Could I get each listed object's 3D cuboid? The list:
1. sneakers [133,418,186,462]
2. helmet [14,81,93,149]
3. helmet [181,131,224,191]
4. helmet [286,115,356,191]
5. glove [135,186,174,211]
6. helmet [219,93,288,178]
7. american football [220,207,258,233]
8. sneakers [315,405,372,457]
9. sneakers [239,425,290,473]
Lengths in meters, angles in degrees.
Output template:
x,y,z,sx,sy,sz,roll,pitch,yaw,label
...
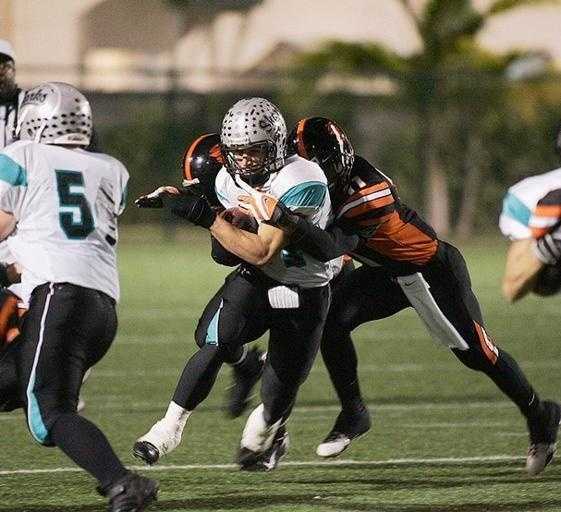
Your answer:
x,y,z,sx,sy,sz,roll,pitch,yaw,label
-0.459,0.700,3.054,0.112,0.099,0.266,3,16,34,sneakers
-0.828,-0.554,3.096,0.347,0.247,0.391,2,16,-24,helmet
-0.398,-0.482,4.019,0.198,0.292,0.338,-1,4,-6,helmet
0.183,-0.442,3.499,0.310,0.320,0.196,1,5,24,helmet
-0.489,-0.219,3.076,0.177,0.048,0.082,-11,16,-3,glove
-0.097,-0.489,3.317,0.288,0.217,0.310,-5,17,21,helmet
-0.177,-0.145,3.214,0.168,0.079,0.057,22,54,15,american football
0.388,0.833,3.766,0.135,0.135,0.414,15,20,42,sneakers
0.001,0.884,3.565,0.121,0.129,0.333,8,6,35,sneakers
